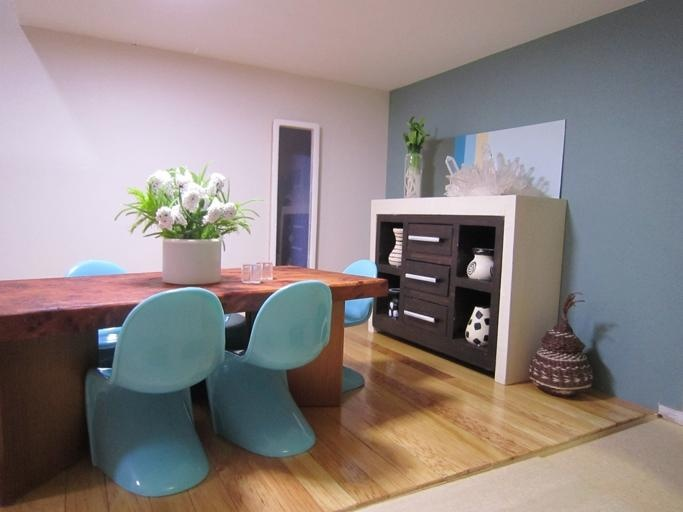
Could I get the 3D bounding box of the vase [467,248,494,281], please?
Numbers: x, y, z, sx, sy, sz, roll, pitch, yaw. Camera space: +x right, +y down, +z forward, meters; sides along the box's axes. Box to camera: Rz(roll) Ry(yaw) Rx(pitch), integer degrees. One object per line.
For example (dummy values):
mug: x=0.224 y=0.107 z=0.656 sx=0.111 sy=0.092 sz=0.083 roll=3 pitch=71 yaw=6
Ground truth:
vase: x=1.080 y=0.058 z=3.719 sx=0.230 sy=0.241 sz=0.234 roll=3 pitch=4 yaw=30

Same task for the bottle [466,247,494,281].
bottle: x=1.075 y=0.098 z=3.731 sx=0.237 sy=0.247 sz=0.252 roll=2 pitch=-18 yaw=10

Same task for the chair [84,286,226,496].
chair: x=-0.875 y=0.570 z=2.267 sx=0.613 sy=0.949 sz=0.440 roll=-3 pitch=13 yaw=-23

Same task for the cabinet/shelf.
cabinet/shelf: x=0.786 y=0.164 z=4.123 sx=1.191 sy=1.080 sz=0.381 roll=15 pitch=20 yaw=43

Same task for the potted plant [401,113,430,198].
potted plant: x=0.690 y=-0.929 z=4.578 sx=0.219 sy=0.720 sz=0.582 roll=4 pitch=12 yaw=10

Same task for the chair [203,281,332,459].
chair: x=-0.365 y=0.536 z=2.610 sx=0.494 sy=0.880 sz=0.609 roll=1 pitch=2 yaw=-40

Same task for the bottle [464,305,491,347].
bottle: x=1.051 y=0.533 z=3.738 sx=0.186 sy=0.302 sz=0.200 roll=-1 pitch=12 yaw=0

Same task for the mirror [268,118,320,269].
mirror: x=-0.484 y=-0.496 z=4.951 sx=0.519 sy=1.675 sz=0.070 roll=11 pitch=20 yaw=21

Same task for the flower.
flower: x=-0.853 y=-0.189 z=2.725 sx=0.538 sy=0.423 sz=0.543 roll=-11 pitch=23 yaw=-37
